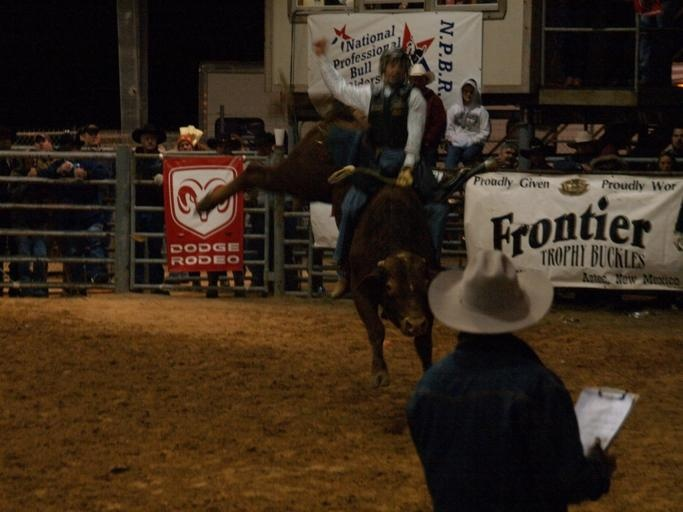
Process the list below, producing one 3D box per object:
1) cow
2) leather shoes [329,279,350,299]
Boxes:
[{"bbox_3d":[0.166,-0.228,12.245,2.415,3.191,0.995,2,4,42],"label":"cow"},{"bbox_3d":[-0.004,0.398,12.752,0.144,0.177,0.323,12,-43,-38],"label":"leather shoes"}]
